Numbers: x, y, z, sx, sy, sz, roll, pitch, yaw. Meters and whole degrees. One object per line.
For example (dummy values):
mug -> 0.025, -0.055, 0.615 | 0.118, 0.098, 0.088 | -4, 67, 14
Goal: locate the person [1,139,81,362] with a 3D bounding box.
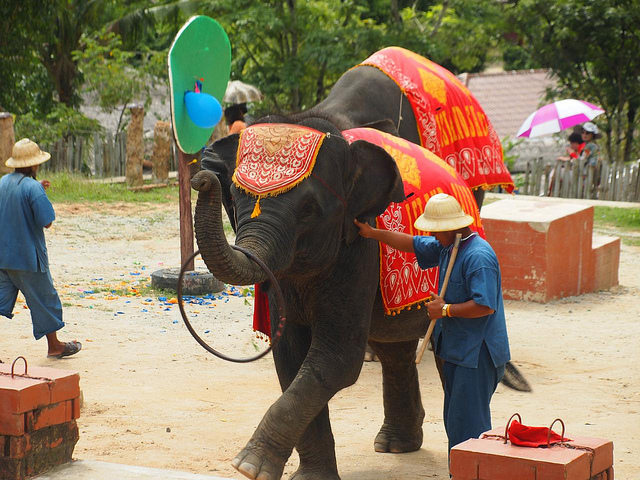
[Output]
person -> -3.142, 0.049, 15.171 | 1.125, 2.338, 1.156 | -18, 32, -42

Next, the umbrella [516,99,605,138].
umbrella -> 3.997, -2.083, 22.105 | 1.368, 0.428, 1.325 | -11, 8, 41

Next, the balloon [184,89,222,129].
balloon -> -1.461, -1.631, 16.386 | 0.325, 0.261, 0.546 | -19, 36, -35

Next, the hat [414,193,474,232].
hat -> 1.202, -0.293, 12.678 | 0.636, 0.291, 0.560 | -7, 17, -6

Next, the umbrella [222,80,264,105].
umbrella -> -1.465, -2.774, 24.718 | 0.583, 0.404, 1.202 | 8, 2, 8

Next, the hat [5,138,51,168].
hat -> -3.324, -0.993, 14.948 | 0.398, 0.187, 0.386 | -9, 11, -12
